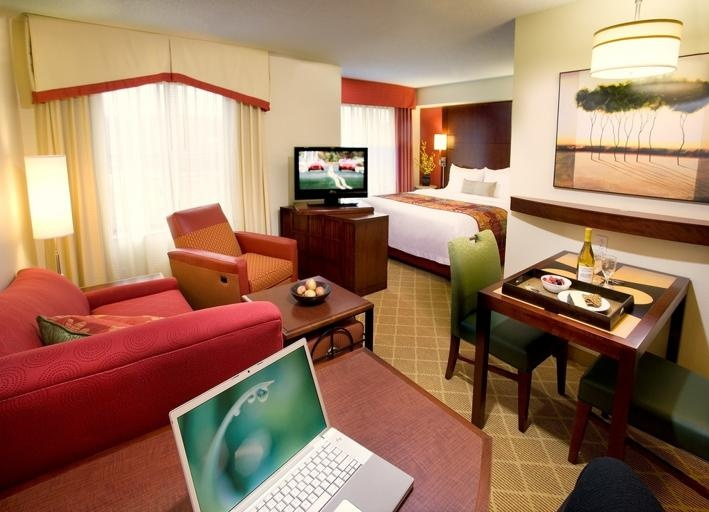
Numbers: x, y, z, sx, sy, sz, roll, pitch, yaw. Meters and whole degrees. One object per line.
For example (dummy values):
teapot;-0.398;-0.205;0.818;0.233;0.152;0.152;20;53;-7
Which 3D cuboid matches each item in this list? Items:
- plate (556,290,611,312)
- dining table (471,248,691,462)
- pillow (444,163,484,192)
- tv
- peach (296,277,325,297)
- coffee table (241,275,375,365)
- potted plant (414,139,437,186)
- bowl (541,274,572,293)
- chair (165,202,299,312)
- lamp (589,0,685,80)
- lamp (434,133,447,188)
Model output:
plate;1.386;0.271;2.869;0.288;0.062;0.261;7;19;29
dining table;1.575;0.457;3.307;1.184;1.019;1.297;16;25;41
pillow;1.804;-1.319;7.921;0.162;0.515;0.563;21;-8;-35
tv;-0.308;-0.997;5.727;0.721;0.556;0.192;-3;11;-16
peach;-0.333;0.236;3.572;0.143;0.083;0.147;2;4;5
coffee table;-0.330;0.405;3.524;0.680;0.533;0.688;15;22;42
potted plant;1.449;-1.877;9.484;0.264;0.903;0.486;-6;17;-11
bowl;1.284;0.168;3.044;0.122;0.059;0.123;2;12;0
chair;-1.236;0.043;4.785;1.161;1.237;1.026;12;23;29
lamp;1.811;-1.326;3.037;0.454;0.305;0.645;9;20;33
lamp;1.647;-1.852;9.098;0.260;1.050;0.438;0;17;7
